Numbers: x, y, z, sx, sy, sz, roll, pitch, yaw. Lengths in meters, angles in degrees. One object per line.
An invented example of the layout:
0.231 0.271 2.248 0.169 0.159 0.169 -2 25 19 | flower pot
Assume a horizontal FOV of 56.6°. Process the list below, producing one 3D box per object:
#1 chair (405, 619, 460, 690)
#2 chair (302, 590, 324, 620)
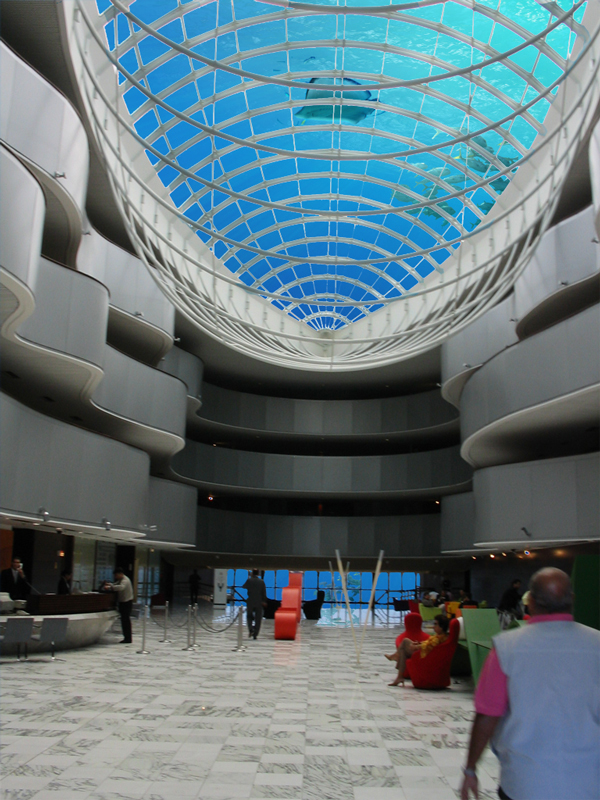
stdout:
2.389 4.486 10.021 0.871 1.046 0.799 7 -12 -21 | chair
0.684 9.737 26.268 1.043 1.789 1.298 1 -39 5 | chair
